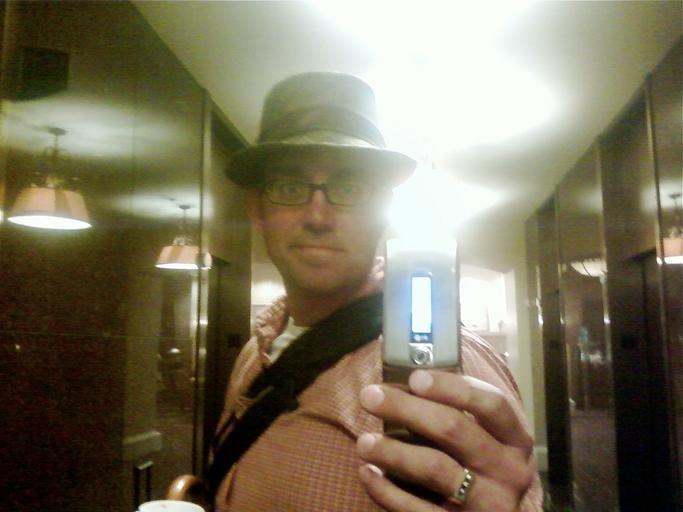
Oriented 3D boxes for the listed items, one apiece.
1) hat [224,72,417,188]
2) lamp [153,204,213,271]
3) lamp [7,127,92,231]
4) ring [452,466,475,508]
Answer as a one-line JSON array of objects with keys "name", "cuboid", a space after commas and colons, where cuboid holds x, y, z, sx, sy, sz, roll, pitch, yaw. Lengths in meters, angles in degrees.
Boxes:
[{"name": "hat", "cuboid": [-0.035, -0.266, 1.372, 0.398, 0.167, 0.342, -2, -10, 5]}, {"name": "lamp", "cuboid": [-0.396, -0.038, 1.589, 0.180, 0.151, 0.146, 1, -15, -2]}, {"name": "lamp", "cuboid": [-0.723, -0.192, 1.633, 0.068, 0.266, 0.223, -6, -8, 21]}, {"name": "ring", "cuboid": [0.218, 0.412, 1.136, 0.016, 0.055, 0.065, 27, 42, 30]}]
